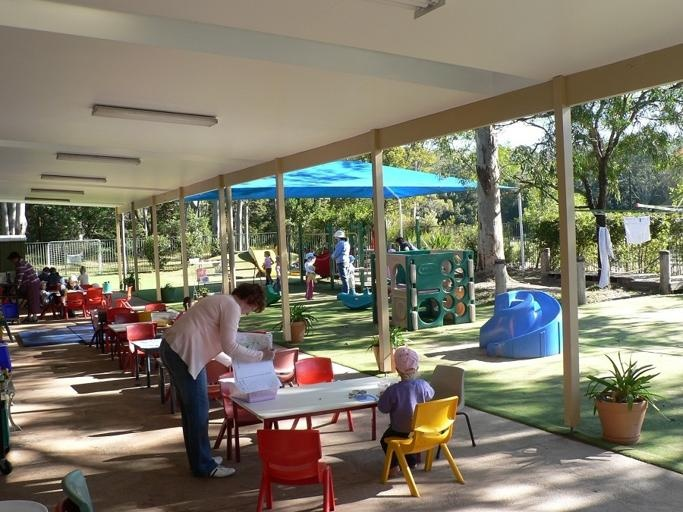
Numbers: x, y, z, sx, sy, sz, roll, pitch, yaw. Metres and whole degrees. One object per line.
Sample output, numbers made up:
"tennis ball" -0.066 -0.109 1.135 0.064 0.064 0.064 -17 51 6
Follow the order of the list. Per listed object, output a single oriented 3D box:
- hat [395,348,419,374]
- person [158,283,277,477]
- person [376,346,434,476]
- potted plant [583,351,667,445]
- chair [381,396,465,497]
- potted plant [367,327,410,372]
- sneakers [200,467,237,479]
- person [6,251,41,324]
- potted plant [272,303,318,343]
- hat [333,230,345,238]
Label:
"hat" 0.585 0.923 4.911 0.179 0.151 0.254 -5 32 -2
"person" -1.224 1.228 5.131 1.007 1.873 0.480 -4 5 -12
"person" 0.596 1.447 5.041 0.521 1.176 0.501 -2 9 -12
"potted plant" 2.903 1.479 5.547 0.676 0.831 0.880 3 -7 -2
"chair" 0.816 1.669 5.121 0.717 1.037 0.855 1 -1 -32
"potted plant" 0.767 1.446 8.885 0.827 0.870 0.849 0 -4 3
"sneakers" -1.231 2.111 5.254 0.305 0.128 0.112 -2 0 -6
"person" -9.355 0.875 15.762 0.861 2.010 0.651 -1 10 -20
"potted plant" -0.920 1.425 11.319 0.759 0.793 0.752 -1 -3 -5
"hat" -0.083 -0.706 16.663 0.274 0.176 0.326 0 -4 -15
